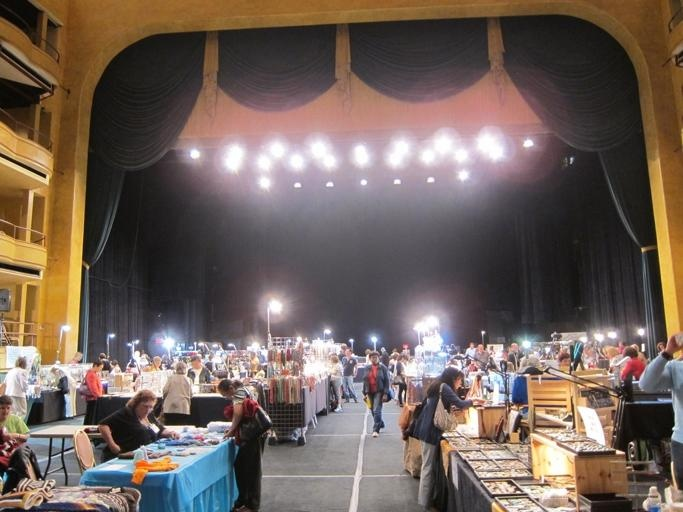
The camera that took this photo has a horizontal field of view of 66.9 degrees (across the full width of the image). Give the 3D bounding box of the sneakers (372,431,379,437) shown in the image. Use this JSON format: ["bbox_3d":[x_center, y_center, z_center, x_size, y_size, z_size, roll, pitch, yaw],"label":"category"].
[{"bbox_3d":[0.735,3.899,11.351,0.087,0.082,0.186,2,-13,3],"label":"sneakers"}]

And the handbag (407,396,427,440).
[{"bbox_3d":[1.107,2.361,7.552,0.136,0.551,0.382,4,-4,19],"label":"handbag"}]

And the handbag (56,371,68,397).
[{"bbox_3d":[-7.616,3.484,14.061,0.176,0.567,0.385,-5,2,-3],"label":"handbag"}]

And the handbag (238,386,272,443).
[{"bbox_3d":[-1.287,2.388,7.345,0.313,0.549,0.653,5,-1,-42],"label":"handbag"}]

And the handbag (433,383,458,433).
[{"bbox_3d":[1.446,2.124,7.263,0.172,0.616,0.490,-10,-22,24],"label":"handbag"}]
